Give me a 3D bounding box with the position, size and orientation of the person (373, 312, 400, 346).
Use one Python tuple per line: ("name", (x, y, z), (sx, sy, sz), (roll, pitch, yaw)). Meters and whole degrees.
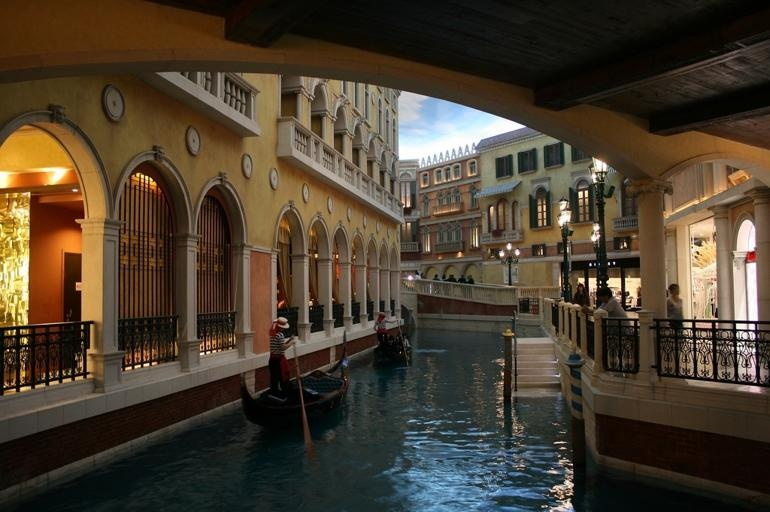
("person", (0.035, 2.959, 22.801), (0.815, 1.592, 0.704), (-2, -7, 2))
